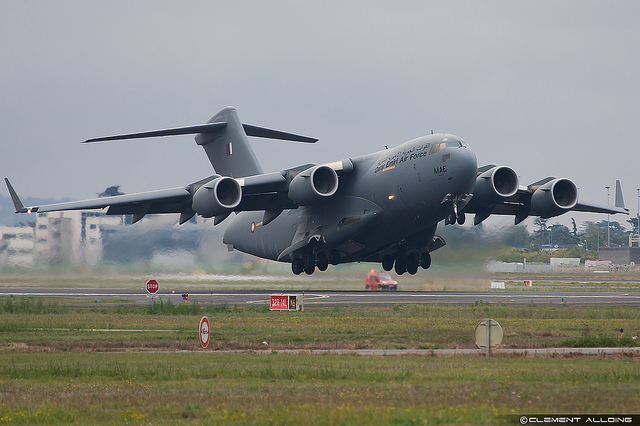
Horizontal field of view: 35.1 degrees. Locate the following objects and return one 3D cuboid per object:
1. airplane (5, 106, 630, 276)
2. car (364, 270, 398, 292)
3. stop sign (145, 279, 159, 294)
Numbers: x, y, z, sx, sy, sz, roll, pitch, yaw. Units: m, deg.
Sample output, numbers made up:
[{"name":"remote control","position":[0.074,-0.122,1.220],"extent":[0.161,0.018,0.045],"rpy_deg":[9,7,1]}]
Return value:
[{"name":"airplane","position":[-0.053,-0.351,41.886],"extent":[13.808,5.099,13.207],"rpy_deg":[-1,-7,-30]},{"name":"car","position":[3.220,3.442,52.160],"extent":[1.035,0.942,1.737],"rpy_deg":[1,-6,-30]},{"name":"stop sign","position":[-6.807,2.985,41.025],"extent":[0.409,0.548,0.657],"rpy_deg":[0,-1,-6]}]
